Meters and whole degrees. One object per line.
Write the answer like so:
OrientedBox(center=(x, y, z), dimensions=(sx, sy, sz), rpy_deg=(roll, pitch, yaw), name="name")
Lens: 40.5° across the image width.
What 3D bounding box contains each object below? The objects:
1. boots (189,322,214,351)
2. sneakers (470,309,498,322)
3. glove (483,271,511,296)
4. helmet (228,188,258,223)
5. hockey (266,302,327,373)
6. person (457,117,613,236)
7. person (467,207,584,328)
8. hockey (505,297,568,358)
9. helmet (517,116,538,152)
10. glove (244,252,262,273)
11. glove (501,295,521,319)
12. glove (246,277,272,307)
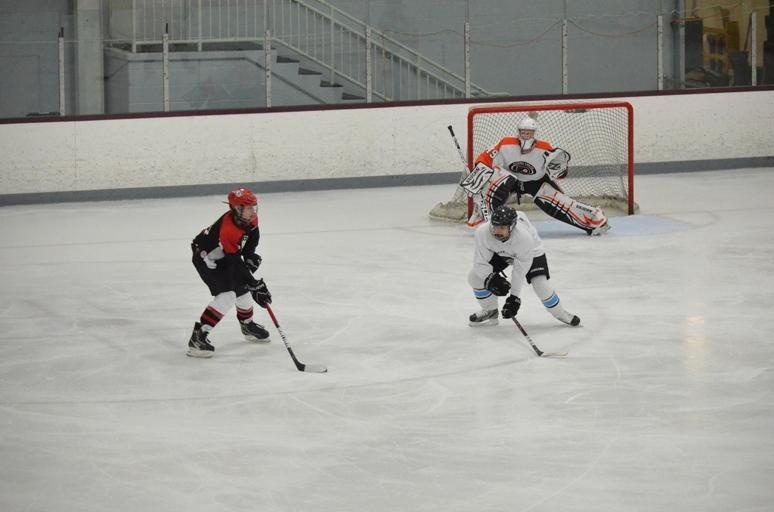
OrientedBox(center=(-1.361, 0.590, 7.606), dimensions=(0.183, 0.224, 0.147), rpy_deg=(-5, 15, -10), name="boots")
OrientedBox(center=(0.746, 0.455, 8.090), dimensions=(0.272, 0.113, 0.084), rpy_deg=(0, 10, -12), name="sneakers")
OrientedBox(center=(0.829, 0.204, 7.918), dimensions=(0.206, 0.074, 0.145), rpy_deg=(24, 34, -9), name="glove")
OrientedBox(center=(-1.031, -0.381, 7.597), dimensions=(0.288, 0.239, 0.203), rpy_deg=(1, 22, 1), name="helmet")
OrientedBox(center=(-0.637, 0.647, 7.399), dimensions=(0.194, 0.130, 1.195), rpy_deg=(-1, 23, -24), name="hockey")
OrientedBox(center=(1.557, -0.802, 10.689), dimensions=(1.436, 0.990, 0.771), rpy_deg=(9, 19, 16), name="person")
OrientedBox(center=(1.064, 0.075, 8.007), dimensions=(0.936, 0.928, 0.711), rpy_deg=(4, 16, 20), name="person")
OrientedBox(center=(1.053, 0.582, 7.689), dimensions=(0.091, 0.110, 0.857), rpy_deg=(36, 5, -23), name="hockey")
OrientedBox(center=(1.403, -1.206, 10.508), dimensions=(0.183, 0.349, 0.228), rpy_deg=(-1, 15, 6), name="helmet")
OrientedBox(center=(-0.991, 0.046, 7.722), dimensions=(0.118, 0.137, 0.052), rpy_deg=(2, 10, -5), name="glove")
OrientedBox(center=(0.914, 0.378, 7.806), dimensions=(0.077, 0.190, 0.113), rpy_deg=(43, -29, -11), name="glove")
OrientedBox(center=(-0.932, 0.263, 7.593), dimensions=(0.137, 0.218, 0.087), rpy_deg=(-31, -3, -5), name="glove")
